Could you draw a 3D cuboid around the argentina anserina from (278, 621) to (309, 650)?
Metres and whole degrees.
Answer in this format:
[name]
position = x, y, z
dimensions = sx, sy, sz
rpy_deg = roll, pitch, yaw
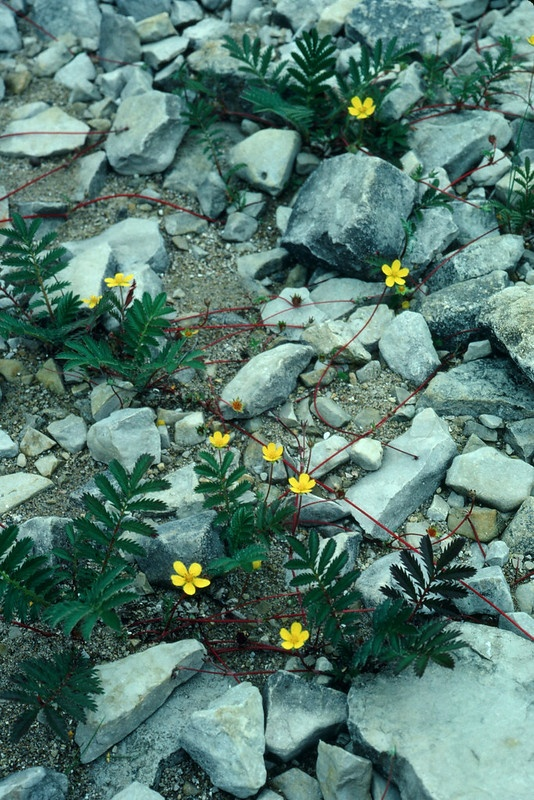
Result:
[argentina anserina]
position = 0.119, 0.991, 3.338
dimensions = 0.113, 0.183, 0.122
rpy_deg = -7, 35, 6
